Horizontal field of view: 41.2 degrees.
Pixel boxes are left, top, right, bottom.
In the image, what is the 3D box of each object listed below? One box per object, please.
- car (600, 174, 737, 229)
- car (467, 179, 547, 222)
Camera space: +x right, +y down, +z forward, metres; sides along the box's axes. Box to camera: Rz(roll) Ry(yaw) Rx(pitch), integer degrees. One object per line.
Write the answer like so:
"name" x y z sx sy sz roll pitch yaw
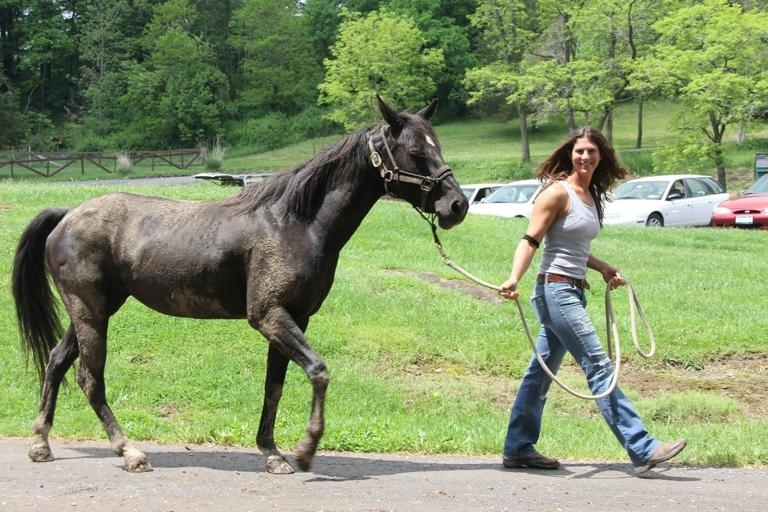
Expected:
"car" 8.500 -1.722 32.560 6.034 1.502 2.643 0 -1 -37
"car" 3.842 -1.852 33.254 1.336 0.736 2.766 2 2 36
